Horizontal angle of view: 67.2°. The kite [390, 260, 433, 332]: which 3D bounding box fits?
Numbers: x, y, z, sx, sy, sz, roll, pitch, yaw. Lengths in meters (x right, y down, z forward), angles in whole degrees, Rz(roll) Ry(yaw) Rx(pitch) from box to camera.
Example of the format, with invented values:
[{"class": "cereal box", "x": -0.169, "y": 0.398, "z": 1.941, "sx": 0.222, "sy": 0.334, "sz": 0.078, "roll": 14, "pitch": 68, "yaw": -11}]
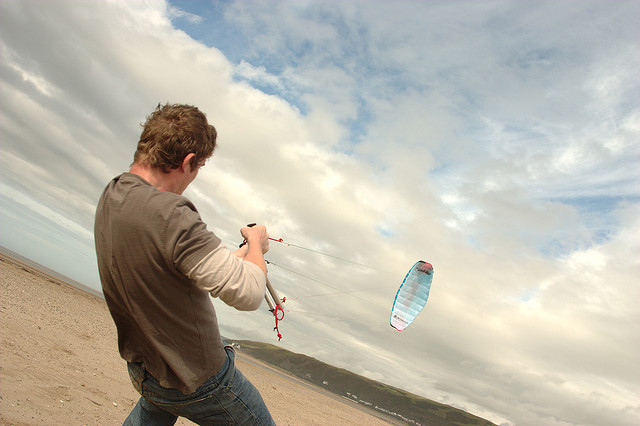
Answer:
[{"class": "kite", "x": 2.803, "y": 2.616, "z": 15.127, "sx": 0.728, "sy": 2.266, "sz": 0.942, "roll": 44, "pitch": -23, "yaw": -20}]
